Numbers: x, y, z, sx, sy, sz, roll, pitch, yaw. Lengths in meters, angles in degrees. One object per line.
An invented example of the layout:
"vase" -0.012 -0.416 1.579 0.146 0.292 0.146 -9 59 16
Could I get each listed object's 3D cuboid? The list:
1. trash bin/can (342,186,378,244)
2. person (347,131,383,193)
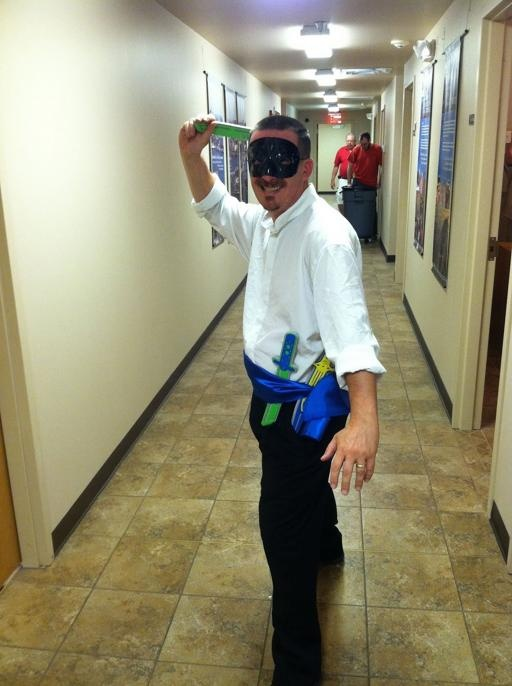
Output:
"trash bin/can" 2.155 -2.650 10.208 0.831 1.214 0.890 -4 -19 20
"person" 2.281 -3.485 9.961 0.732 1.947 0.469 7 50 16
